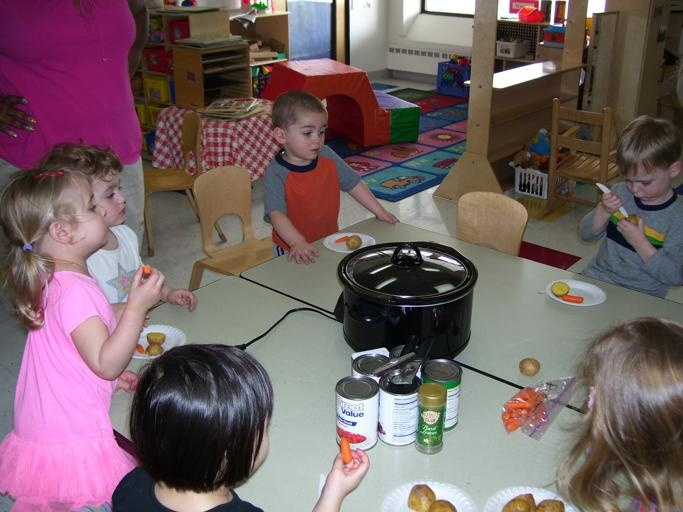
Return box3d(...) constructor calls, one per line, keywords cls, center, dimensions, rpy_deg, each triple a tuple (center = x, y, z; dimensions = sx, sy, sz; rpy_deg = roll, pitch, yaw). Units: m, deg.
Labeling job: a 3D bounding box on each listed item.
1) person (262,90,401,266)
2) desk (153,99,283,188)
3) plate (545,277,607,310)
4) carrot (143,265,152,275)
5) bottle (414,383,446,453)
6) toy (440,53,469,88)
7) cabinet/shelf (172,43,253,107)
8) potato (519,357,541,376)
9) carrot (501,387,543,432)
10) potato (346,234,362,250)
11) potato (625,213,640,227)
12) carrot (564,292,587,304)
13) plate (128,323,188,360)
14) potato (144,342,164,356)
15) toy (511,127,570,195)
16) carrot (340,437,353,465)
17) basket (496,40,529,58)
box3d(cls="person", center=(-0.113, -0.246, 2.653), dimensions=(0.604, 1.075, 0.548), rpy_deg=(-22, 41, -26))
box3d(cls="desk", center=(-1.017, -0.983, 4.525), dimensions=(0.928, 0.491, 0.954), rpy_deg=(19, 32, 31))
box3d(cls="plate", center=(0.826, 0.135, 1.842), dimensions=(0.114, 0.016, 0.118), rpy_deg=(14, 35, 22))
box3d(cls="carrot", center=(-0.521, 0.039, 1.403), dimensions=(0.025, 0.022, 0.010), rpy_deg=(31, 2, 41))
box3d(cls="bottle", center=(0.221, 0.397, 1.288), dimensions=(0.070, 0.164, 0.079), rpy_deg=(4, 26, 12))
box3d(cls="toy", center=(1.720, -2.738, 7.827), dimensions=(0.584, 0.456, 0.317), rpy_deg=(21, 33, 38))
box3d(cls="cabinet/shelf", center=(-1.287, -1.799, 5.220), dimensions=(0.441, 0.541, 0.638), rpy_deg=(16, 30, 28))
box3d(cls="potato", center=(0.537, 0.319, 1.493), dimensions=(0.048, 0.041, 0.051), rpy_deg=(9, 26, 34))
box3d(cls="carrot", center=(0.478, 0.407, 1.390), dimensions=(0.067, 0.029, 0.117), rpy_deg=(31, 48, 28))
box3d(cls="potato", center=(0.055, -0.058, 2.183), dimensions=(0.055, 0.050, 0.055), rpy_deg=(-16, 30, -19))
box3d(cls="potato", center=(1.173, -0.144, 2.105), dimensions=(0.050, 0.038, 0.033), rpy_deg=(-23, -13, -1))
box3d(cls="carrot", center=(0.804, 0.152, 1.800), dimensions=(0.063, 0.033, 0.022), rpy_deg=(4, 3, 16))
box3d(cls="plate", center=(-0.574, 0.267, 1.639), dimensions=(0.125, 0.018, 0.127), rpy_deg=(33, 44, 32))
box3d(cls="potato", center=(-0.572, 0.287, 1.595), dimensions=(0.045, 0.019, 0.046), rpy_deg=(-6, 43, -10))
box3d(cls="toy", center=(1.761, -0.822, 4.703), dimensions=(0.467, 0.331, 0.626), rpy_deg=(7, 10, 23))
box3d(cls="carrot", center=(0.009, 0.403, 1.085), dimensions=(0.012, 0.050, 0.029), rpy_deg=(3, -9, -39))
box3d(cls="basket", center=(2.274, -2.693, 6.957), dimensions=(0.254, 0.175, 0.368), rpy_deg=(15, 23, 41))
